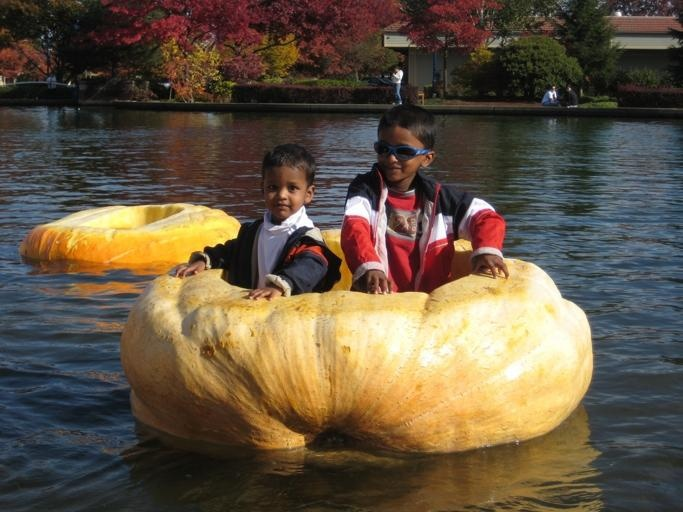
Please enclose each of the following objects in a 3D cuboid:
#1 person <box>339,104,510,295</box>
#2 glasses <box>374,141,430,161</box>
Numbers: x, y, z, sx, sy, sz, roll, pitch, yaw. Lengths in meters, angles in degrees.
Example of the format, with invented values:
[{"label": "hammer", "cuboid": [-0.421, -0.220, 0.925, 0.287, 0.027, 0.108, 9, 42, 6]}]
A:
[{"label": "person", "cuboid": [0.367, -0.327, 6.054, 1.296, 1.211, 1.213, -2, 14, -9]}, {"label": "glasses", "cuboid": [0.360, -0.607, 5.859, 0.328, 0.111, 0.168, -1, 6, 3]}]
